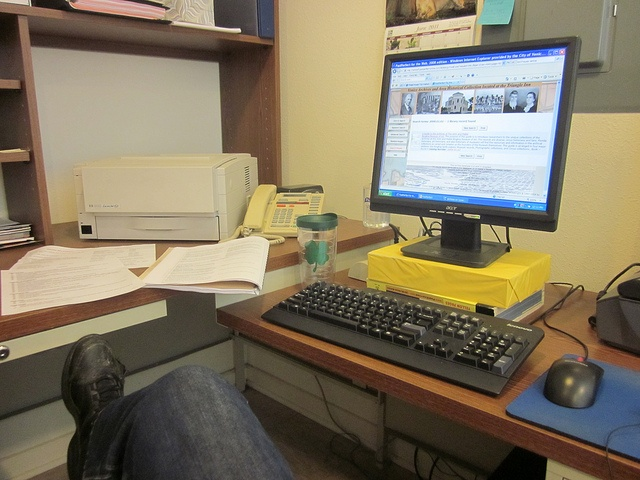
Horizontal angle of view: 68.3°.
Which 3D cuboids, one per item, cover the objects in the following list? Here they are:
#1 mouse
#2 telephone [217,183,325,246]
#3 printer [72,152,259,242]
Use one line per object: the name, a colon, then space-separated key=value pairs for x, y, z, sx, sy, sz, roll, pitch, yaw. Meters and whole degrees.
mouse: x=0.477 y=0.247 z=0.874 sx=0.156 sy=0.050 sz=0.092 roll=-22 pitch=18 yaw=-40
telephone: x=-0.129 y=-0.089 z=1.585 sx=0.303 sy=0.114 sz=0.346 roll=10 pitch=27 yaw=28
printer: x=-0.504 y=-0.151 z=1.593 sx=0.503 sy=0.251 sz=0.323 roll=2 pitch=16 yaw=3
